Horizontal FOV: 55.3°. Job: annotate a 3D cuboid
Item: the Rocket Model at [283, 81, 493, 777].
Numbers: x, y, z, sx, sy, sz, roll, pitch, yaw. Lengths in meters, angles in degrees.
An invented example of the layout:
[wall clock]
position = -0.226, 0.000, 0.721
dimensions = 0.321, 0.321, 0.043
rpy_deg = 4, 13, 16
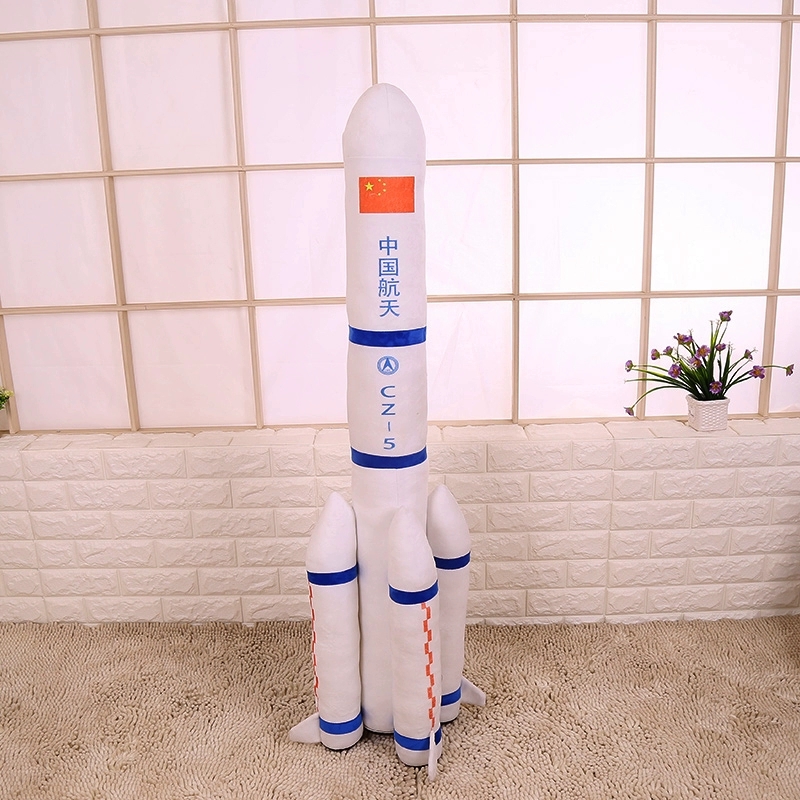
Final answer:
[Rocket Model]
position = -0.050, 0.113, 2.183
dimensions = 0.480, 1.907, 0.391
rpy_deg = 5, 16, 25

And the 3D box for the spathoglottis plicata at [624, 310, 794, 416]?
[spathoglottis plicata]
position = 1.120, -0.112, 2.949
dimensions = 0.476, 0.285, 0.491
rpy_deg = 1, -2, -1

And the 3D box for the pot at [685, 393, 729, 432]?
[pot]
position = 1.128, 0.043, 2.801
dimensions = 0.131, 0.115, 0.132
rpy_deg = 0, 5, 0
